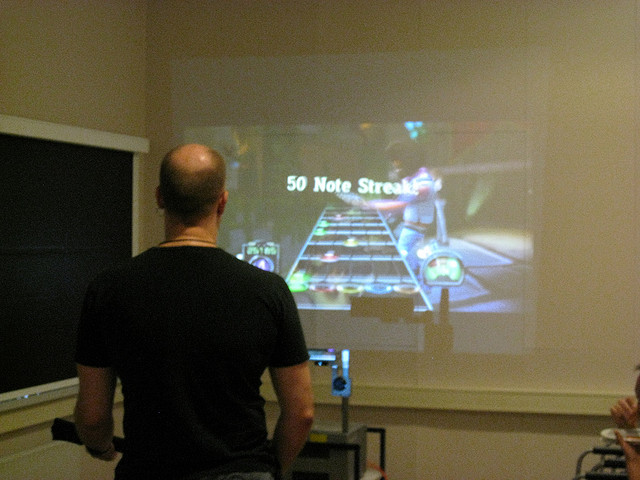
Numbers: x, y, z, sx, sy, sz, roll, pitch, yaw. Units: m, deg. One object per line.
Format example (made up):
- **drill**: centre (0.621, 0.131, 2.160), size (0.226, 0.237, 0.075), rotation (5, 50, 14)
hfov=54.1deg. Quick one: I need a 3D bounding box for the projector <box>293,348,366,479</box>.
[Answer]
- **projector**: centre (0.092, 1.125, 4.119), size (0.457, 0.707, 0.478), rotation (3, 0, 4)
